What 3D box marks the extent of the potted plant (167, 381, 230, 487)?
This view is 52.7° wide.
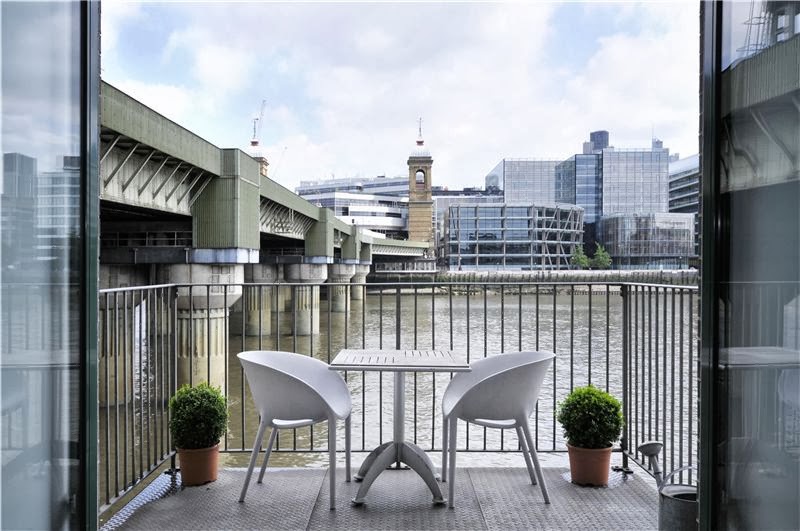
[{"bbox_3d":[-1.516,1.273,6.095,0.441,0.693,0.401,0,-7,-33],"label":"potted plant"}]

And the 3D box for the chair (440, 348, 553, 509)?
[{"bbox_3d":[0.720,1.119,5.937,0.851,1.087,0.880,5,8,23],"label":"chair"}]

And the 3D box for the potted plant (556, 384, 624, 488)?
[{"bbox_3d":[1.385,1.284,6.228,0.628,0.843,0.612,1,-5,-15],"label":"potted plant"}]

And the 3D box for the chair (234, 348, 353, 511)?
[{"bbox_3d":[-0.773,1.122,5.923,0.773,1.091,0.895,-1,5,13],"label":"chair"}]
